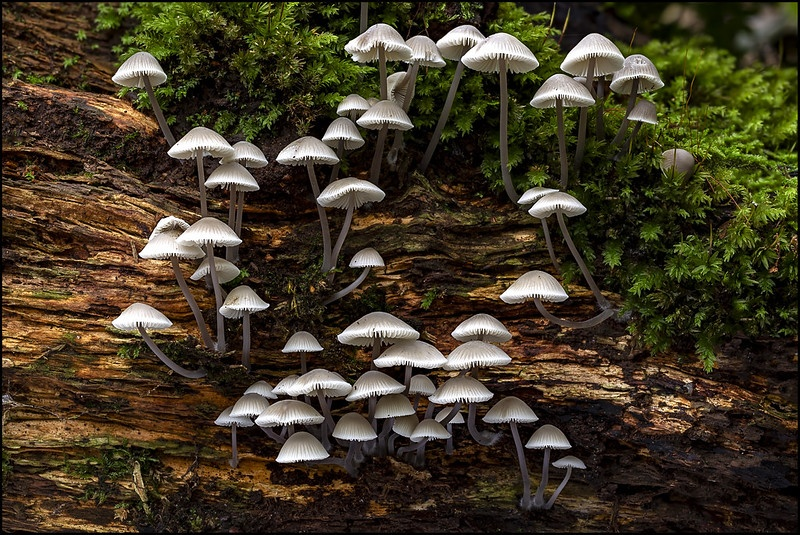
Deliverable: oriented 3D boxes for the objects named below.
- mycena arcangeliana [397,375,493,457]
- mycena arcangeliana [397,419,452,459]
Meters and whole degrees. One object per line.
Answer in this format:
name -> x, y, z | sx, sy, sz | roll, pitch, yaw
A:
mycena arcangeliana -> 0.516, 1.665, 11.316 | 0.882, 1.063, 0.410 | 7, 15, -3
mycena arcangeliana -> 0.277, 1.883, 11.412 | 0.560, 0.256, 0.359 | -11, -1, 4
